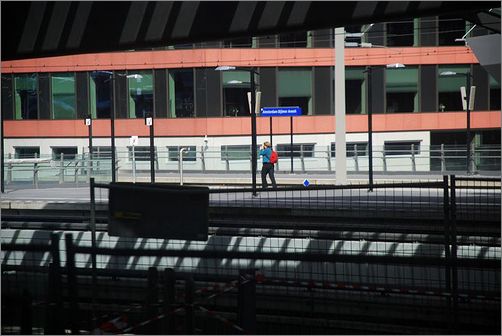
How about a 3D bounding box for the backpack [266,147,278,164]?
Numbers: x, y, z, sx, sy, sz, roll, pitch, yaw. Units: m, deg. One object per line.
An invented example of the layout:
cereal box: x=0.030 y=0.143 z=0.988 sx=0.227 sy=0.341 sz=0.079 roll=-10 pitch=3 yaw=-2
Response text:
backpack: x=0.878 y=-0.547 z=33.603 sx=0.617 sy=0.625 sz=0.444 roll=0 pitch=8 yaw=3
